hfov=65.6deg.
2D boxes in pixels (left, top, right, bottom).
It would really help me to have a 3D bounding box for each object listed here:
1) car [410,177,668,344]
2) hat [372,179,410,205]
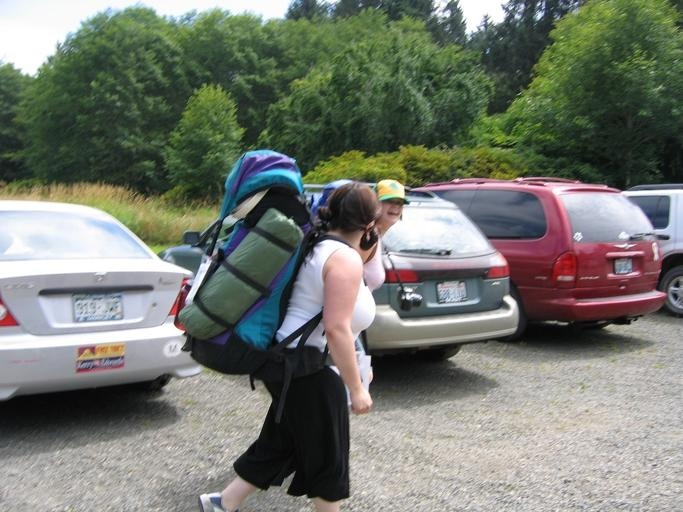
[{"bbox_3d":[3.110,-0.079,7.005,1.830,1.452,3.676,-5,10,-41],"label":"car"},{"bbox_3d":[0.312,-0.448,3.615,0.180,0.108,0.221,4,8,-19],"label":"hat"}]
